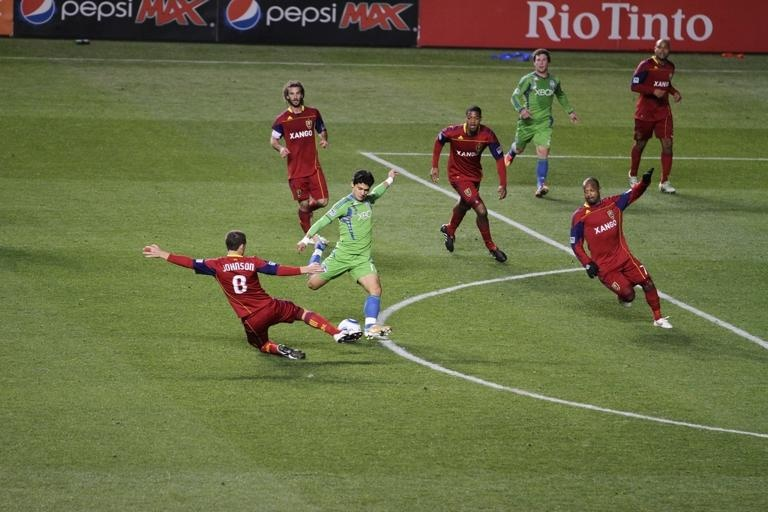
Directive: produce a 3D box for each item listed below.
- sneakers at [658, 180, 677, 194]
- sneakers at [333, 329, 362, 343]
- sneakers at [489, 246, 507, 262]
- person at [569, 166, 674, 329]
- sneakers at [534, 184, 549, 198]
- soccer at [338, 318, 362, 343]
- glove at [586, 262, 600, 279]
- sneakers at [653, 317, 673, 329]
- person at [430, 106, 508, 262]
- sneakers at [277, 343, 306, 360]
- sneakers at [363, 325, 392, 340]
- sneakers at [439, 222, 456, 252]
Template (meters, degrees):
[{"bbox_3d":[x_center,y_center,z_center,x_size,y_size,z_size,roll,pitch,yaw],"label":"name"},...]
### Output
[{"bbox_3d":[5.623,-1.356,25.972,0.180,0.159,0.382,-14,11,-23],"label":"sneakers"},{"bbox_3d":[-0.547,1.132,18.400,0.471,0.129,0.193,-3,13,-14],"label":"sneakers"},{"bbox_3d":[1.917,-0.032,21.958,0.295,0.238,0.421,1,11,6],"label":"sneakers"},{"bbox_3d":[3.442,-0.173,19.611,1.273,2.237,0.850,1,13,4],"label":"person"},{"bbox_3d":[3.055,-1.271,25.584,0.144,0.147,0.353,-25,-7,-20],"label":"sneakers"},{"bbox_3d":[-0.482,1.060,18.428,0.387,0.257,0.271,-1,18,35],"label":"soccer"},{"bbox_3d":[3.073,0.205,19.407,0.199,0.233,0.090,-31,-3,2],"label":"glove"},{"bbox_3d":[4.108,1.004,19.387,0.159,0.106,0.272,-7,4,-18],"label":"sneakers"},{"bbox_3d":[1.415,-1.259,22.136,1.273,2.592,1.538,-1,12,-4],"label":"person"},{"bbox_3d":[-1.318,1.343,18.267,0.438,0.147,0.167,4,25,19],"label":"sneakers"},{"bbox_3d":[-0.108,1.094,18.569,0.188,0.188,0.468,-6,6,-32],"label":"sneakers"},{"bbox_3d":[1.059,-0.317,22.325,0.291,0.480,0.189,-7,20,27],"label":"sneakers"}]
